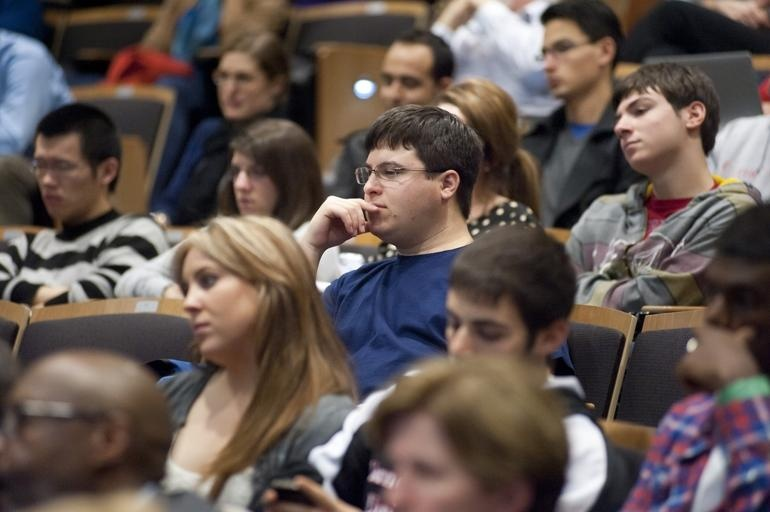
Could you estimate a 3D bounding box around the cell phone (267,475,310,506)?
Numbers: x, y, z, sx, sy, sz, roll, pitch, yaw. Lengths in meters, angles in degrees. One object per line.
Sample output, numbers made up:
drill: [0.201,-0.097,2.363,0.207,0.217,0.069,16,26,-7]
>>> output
cell phone: [-0.232,0.570,1.785,0.060,0.033,0.032,18,49,15]

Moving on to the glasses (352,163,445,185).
glasses: [0.014,-0.282,2.584,0.336,0.076,0.146,10,6,38]
